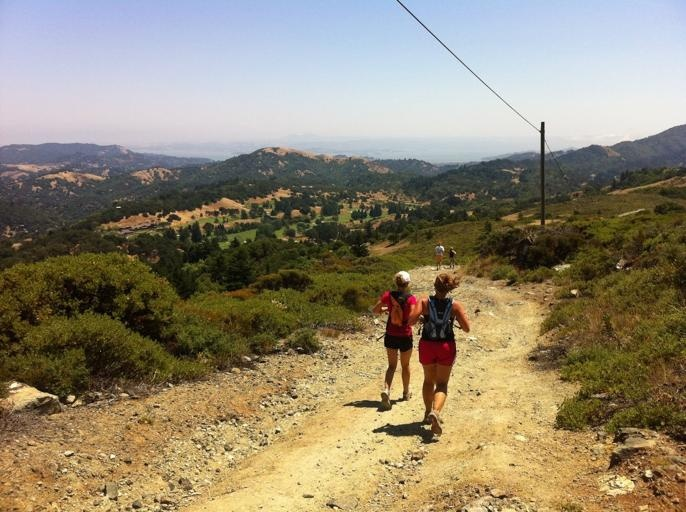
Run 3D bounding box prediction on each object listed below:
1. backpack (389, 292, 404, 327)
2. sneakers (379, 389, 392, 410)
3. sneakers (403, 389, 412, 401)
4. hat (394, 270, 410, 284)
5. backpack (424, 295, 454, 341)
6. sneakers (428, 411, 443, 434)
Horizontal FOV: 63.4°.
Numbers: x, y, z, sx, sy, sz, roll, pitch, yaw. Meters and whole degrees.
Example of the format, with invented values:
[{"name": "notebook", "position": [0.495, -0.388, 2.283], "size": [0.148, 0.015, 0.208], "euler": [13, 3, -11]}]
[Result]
[{"name": "backpack", "position": [0.970, 0.989, 10.218], "size": [0.412, 0.534, 0.172], "euler": [-2, 1, 28]}, {"name": "sneakers", "position": [0.814, 2.723, 10.588], "size": [0.202, 0.421, 0.185], "euler": [-3, 20, 16]}, {"name": "sneakers", "position": [1.262, 2.736, 10.913], "size": [0.107, 0.118, 0.286], "euler": [1, 6, 16]}, {"name": "hat", "position": [1.089, 0.409, 10.190], "size": [0.206, 0.214, 0.276], "euler": [7, 12, 23]}, {"name": "backpack", "position": [1.696, 1.091, 9.475], "size": [0.566, 0.690, 0.410], "euler": [3, 2, 21]}, {"name": "sneakers", "position": [1.564, 2.833, 9.464], "size": [0.223, 0.455, 0.214], "euler": [-4, 14, 18]}]
